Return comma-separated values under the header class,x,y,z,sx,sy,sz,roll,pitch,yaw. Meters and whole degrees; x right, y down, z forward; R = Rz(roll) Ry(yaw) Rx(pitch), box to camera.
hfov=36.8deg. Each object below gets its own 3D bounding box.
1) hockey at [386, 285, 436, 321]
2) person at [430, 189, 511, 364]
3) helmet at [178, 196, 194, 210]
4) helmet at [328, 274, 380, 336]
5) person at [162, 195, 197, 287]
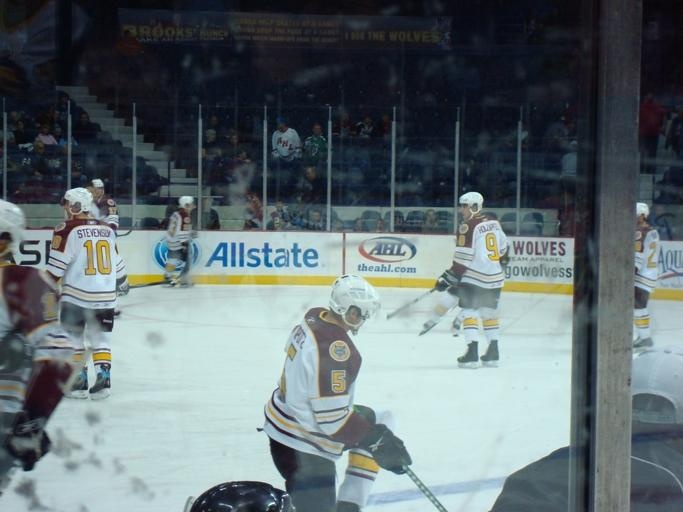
class,x,y,z,sx,sy,sz,roll,pitch,yaw
hockey,0.875,0.619,13.117,0.899,0.131,0.125,-28,-19,-43
person,1.334,0.277,10.350,0.683,1.861,0.451,0,13,6
helmet,-2.121,-0.714,14.008,0.165,0.170,0.129,-28,41,-36
helmet,0.060,0.359,7.808,0.408,0.475,0.362,1,14,-17
person,-2.205,-0.190,13.868,0.414,1.195,0.443,-4,14,-11
